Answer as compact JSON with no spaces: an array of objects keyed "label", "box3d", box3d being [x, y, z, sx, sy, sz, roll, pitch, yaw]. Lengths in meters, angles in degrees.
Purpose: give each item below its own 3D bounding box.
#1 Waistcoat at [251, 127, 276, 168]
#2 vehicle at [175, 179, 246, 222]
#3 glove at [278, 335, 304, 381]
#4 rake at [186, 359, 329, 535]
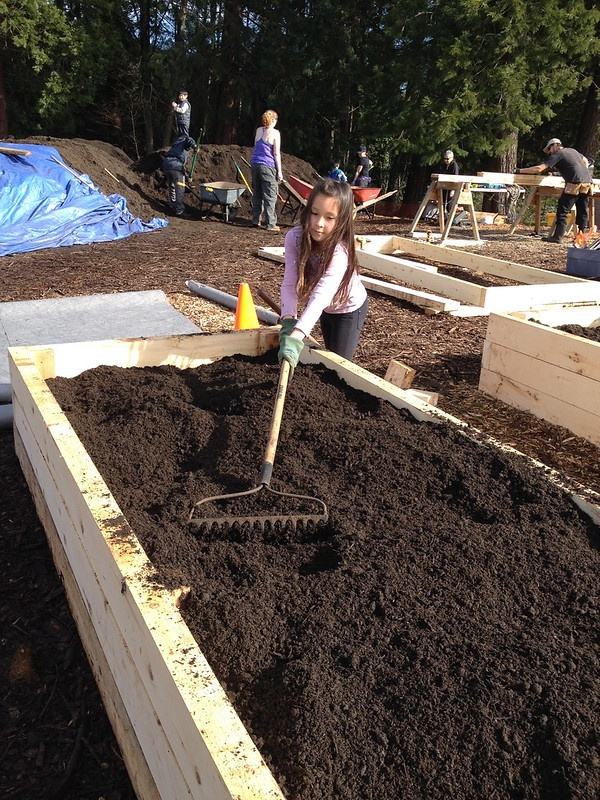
[{"label":"Waistcoat","box3d":[-0.590,-4.224,10.006,0.416,0.628,0.581,6,22,2]},{"label":"vehicle","box3d":[-1.822,-4.189,12.478,1.100,0.751,2.675,1,23,-11]},{"label":"glove","box3d":[-0.020,-0.184,2.541,0.089,0.103,0.160,20,47,-31]},{"label":"rake","box3d":[-0.132,0.185,2.098,0.458,0.268,0.605,4,23,-5]}]
